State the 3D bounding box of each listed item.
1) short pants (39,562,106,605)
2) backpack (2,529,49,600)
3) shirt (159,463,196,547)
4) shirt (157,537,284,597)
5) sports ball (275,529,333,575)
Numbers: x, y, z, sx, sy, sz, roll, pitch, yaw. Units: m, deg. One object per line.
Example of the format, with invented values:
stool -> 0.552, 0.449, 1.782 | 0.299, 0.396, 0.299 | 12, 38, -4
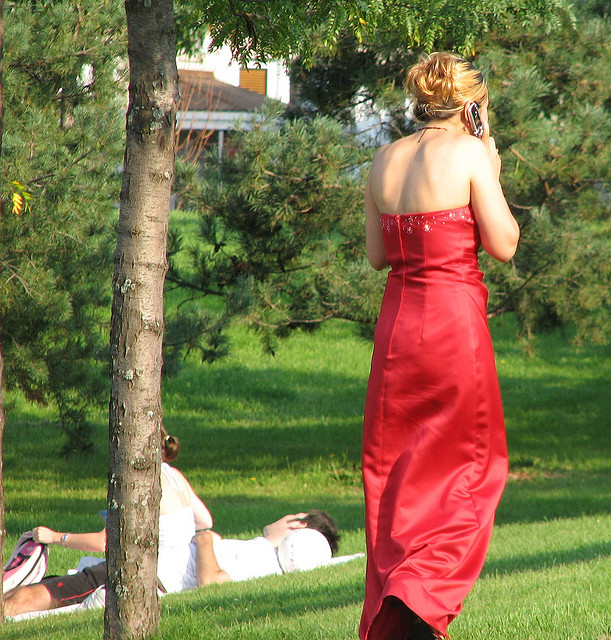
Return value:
short pants -> -2.040, 2.330, 21.190 | 0.496, 0.467, 0.222 | -5, -14, -3
backpack -> -2.498, 2.209, 21.447 | 0.291, 0.656, 0.203 | -2, -26, 45
shirt -> -1.146, 1.673, 21.275 | 0.499, 0.676, 0.308 | -7, -2, -17
shirt -> -0.759, 2.190, 21.350 | 1.085, 0.478, 0.445 | -1, -4, -5
sports ball -> -0.031, 1.986, 21.490 | 0.483, 0.395, 0.444 | 1, 11, 0
